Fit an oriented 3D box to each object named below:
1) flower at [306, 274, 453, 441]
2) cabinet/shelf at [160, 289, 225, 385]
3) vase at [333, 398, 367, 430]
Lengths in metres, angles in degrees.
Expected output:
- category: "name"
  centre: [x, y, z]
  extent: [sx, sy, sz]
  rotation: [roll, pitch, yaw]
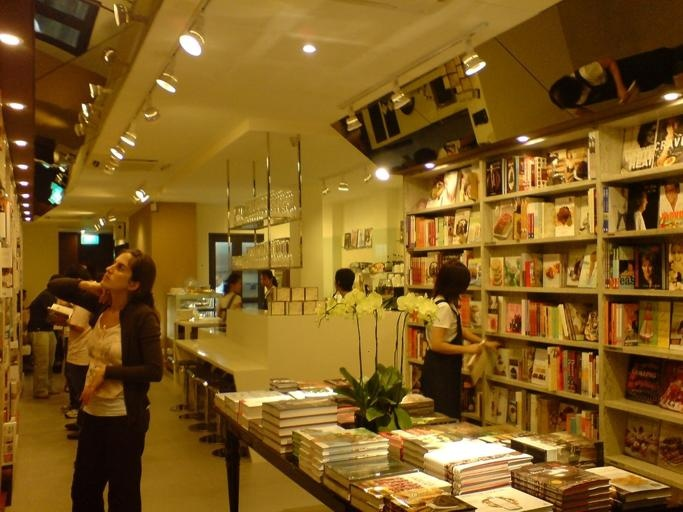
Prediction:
- category: "flower"
  centre: [0.210, 0.648, 3.146]
  extent: [0.583, 0.939, 0.701]
  rotation: [1, -4, 19]
- category: "cabinet/shelf"
  centre: [-2.817, 1.362, 9.725]
  extent: [0.510, 1.335, 1.374]
  rotation: [3, -3, -30]
- category: "vase"
  centre: [0.054, 0.941, 3.166]
  extent: [0.135, 0.145, 0.142]
  rotation: [0, 0, -25]
